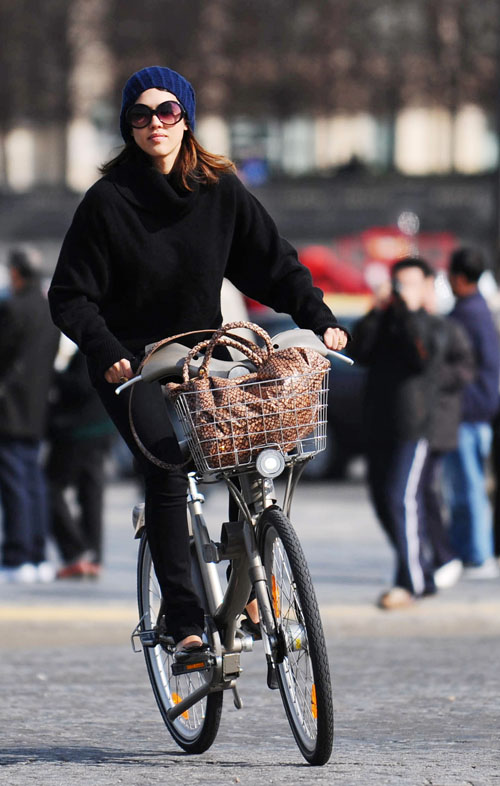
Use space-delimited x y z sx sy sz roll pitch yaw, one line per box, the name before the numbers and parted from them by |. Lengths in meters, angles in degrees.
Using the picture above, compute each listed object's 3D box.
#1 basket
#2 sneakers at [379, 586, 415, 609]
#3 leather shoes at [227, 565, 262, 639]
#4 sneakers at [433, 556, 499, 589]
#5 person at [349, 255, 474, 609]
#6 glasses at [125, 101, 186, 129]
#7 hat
basket | 0.013 0.101 3.994 0.253 0.235 0.373 -27 -21 26
sneakers | 0.764 1.073 7.568 0.227 0.112 0.151 -1 3 -11
leather shoes | -0.032 0.688 4.443 0.079 0.106 0.264 -4 2 -3
sneakers | 1.202 1.026 8.289 0.385 0.203 0.141 -15 30 15
person | 0.820 0.189 7.927 0.665 1.842 0.999 0 3 13
glasses | -0.295 -0.833 4.410 0.165 0.085 0.073 -1 3 -2
hat | -0.284 -0.945 4.545 0.169 0.171 0.216 -3 -17 4
